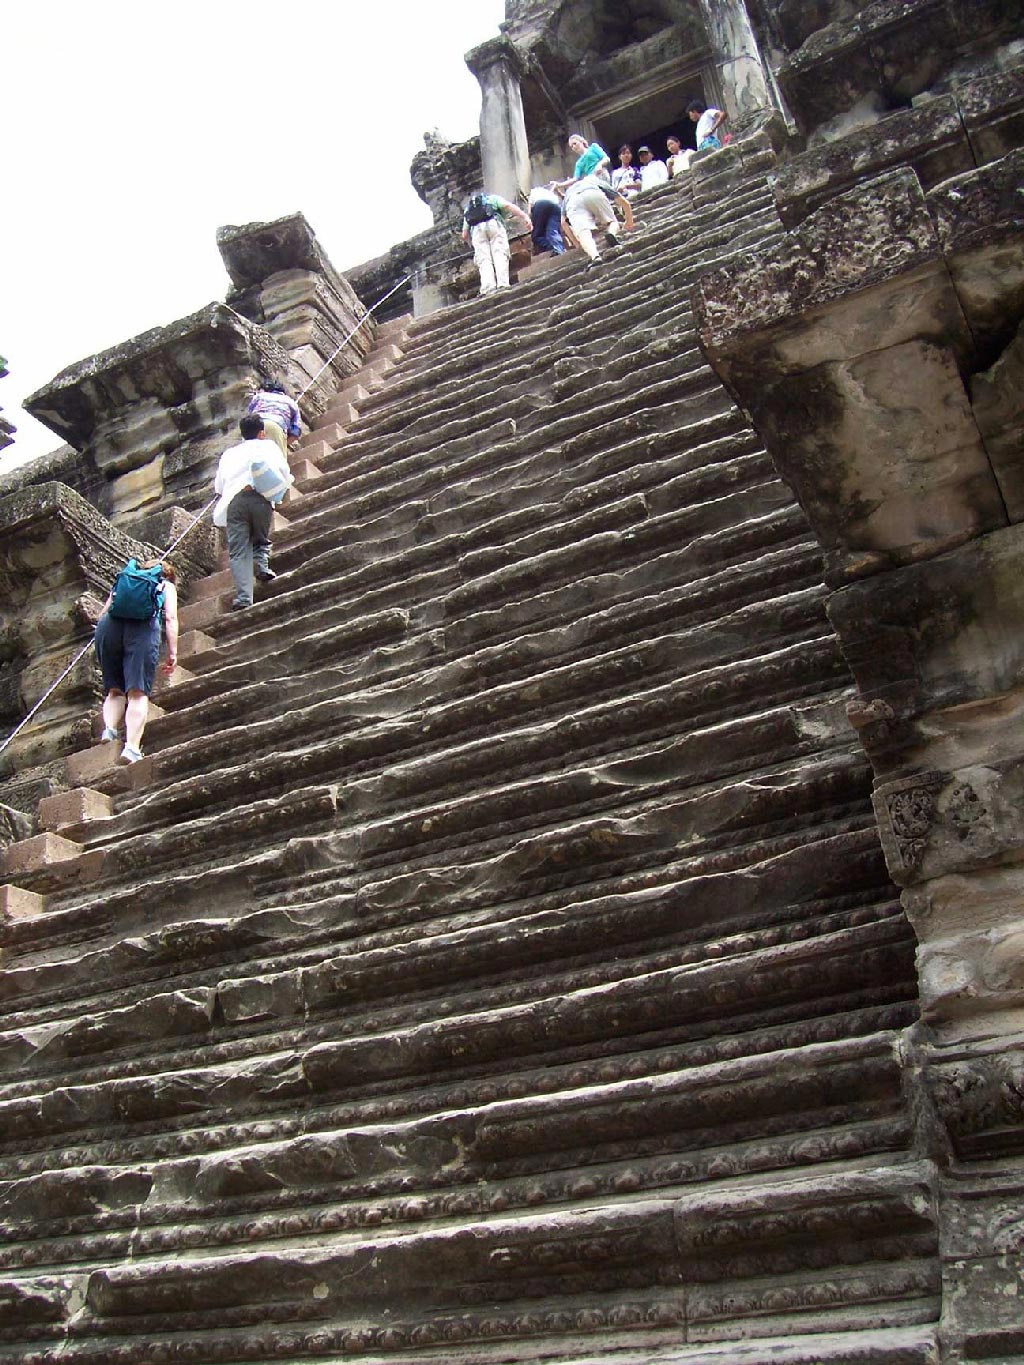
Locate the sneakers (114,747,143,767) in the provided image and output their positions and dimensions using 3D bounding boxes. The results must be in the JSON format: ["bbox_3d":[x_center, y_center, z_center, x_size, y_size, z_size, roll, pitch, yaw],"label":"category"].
[{"bbox_3d":[-1.354,0.254,6.898,0.053,0.048,0.120,8,15,8],"label":"sneakers"}]
